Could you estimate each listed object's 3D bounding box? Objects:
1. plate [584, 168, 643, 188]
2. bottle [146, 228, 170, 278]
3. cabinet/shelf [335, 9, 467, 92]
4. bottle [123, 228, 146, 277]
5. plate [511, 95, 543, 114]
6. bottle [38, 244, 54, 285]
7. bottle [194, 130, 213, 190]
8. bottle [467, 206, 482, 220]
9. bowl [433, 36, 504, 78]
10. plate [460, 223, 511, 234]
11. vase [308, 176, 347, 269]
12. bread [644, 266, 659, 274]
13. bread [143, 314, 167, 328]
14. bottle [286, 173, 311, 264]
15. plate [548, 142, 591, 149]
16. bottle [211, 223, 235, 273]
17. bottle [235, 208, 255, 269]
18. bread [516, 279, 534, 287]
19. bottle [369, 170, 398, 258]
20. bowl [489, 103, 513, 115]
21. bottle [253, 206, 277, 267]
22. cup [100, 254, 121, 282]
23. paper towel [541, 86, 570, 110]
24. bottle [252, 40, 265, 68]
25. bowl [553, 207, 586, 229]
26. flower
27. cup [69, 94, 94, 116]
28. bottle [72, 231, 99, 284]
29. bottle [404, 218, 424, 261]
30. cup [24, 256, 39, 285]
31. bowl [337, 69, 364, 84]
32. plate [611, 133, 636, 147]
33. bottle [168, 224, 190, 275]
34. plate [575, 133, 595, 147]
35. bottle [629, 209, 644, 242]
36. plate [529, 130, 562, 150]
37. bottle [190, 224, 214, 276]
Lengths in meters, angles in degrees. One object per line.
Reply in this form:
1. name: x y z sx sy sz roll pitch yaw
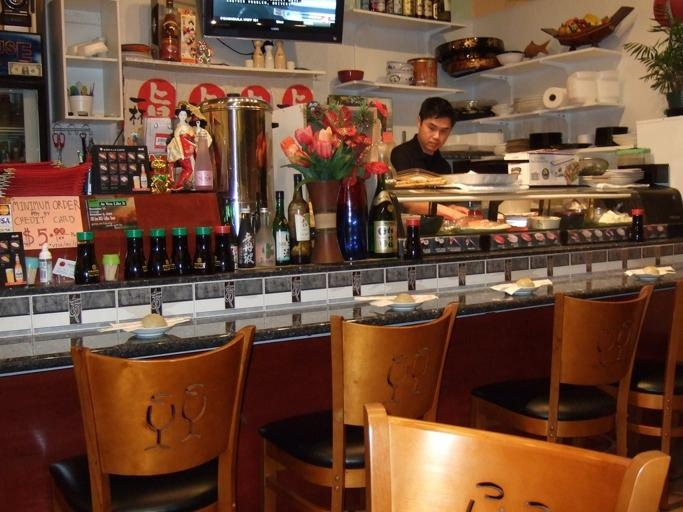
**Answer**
1. plate: 1.593 -0.452 3.665 0.237 0.093 0.674 4 11 45
2. bottle: -0.660 -0.017 2.307 0.075 0.168 0.126 -3 8 2
3. cabinet/shelf: 0.485 -1.853 5.700 0.860 0.522 0.283 -3 7 -29
4. bottle: -0.739 -0.009 2.245 0.074 0.172 0.085 -6 8 -20
5. plate: 1.616 -1.321 5.547 0.131 0.146 0.314 -8 9 -31
6. bottle: -1.019 0.026 2.173 0.051 0.133 0.096 -7 9 -24
7. bottle: -0.558 -0.383 2.524 0.080 0.237 0.064 -5 8 -14
8. bottle: 0.637 -0.209 3.012 0.026 0.068 0.125 3 10 37
9. bowl: 1.133 -1.802 5.689 0.408 0.167 0.417 -4 2 0
10. plate: 0.685 -0.133 2.984 0.305 0.056 0.052 -8 9 -30
11. vase: -0.065 -0.139 2.580 0.140 0.335 0.124 -3 8 0
12. bread: 1.449 0.064 2.960 0.041 0.024 0.043 -3 6 11
13. bread: -0.606 0.202 2.053 0.044 0.031 0.054 3 6 -4
14. bottle: -0.173 -0.137 2.582 0.108 0.331 0.088 -6 8 -17
15. plate: 1.770 -0.849 4.891 0.390 0.042 0.104 -7 8 -21
16. bottle: -0.445 -0.027 2.375 0.079 0.174 0.048 -5 8 -9
17. bottle: -0.380 -0.073 2.518 0.071 0.221 0.155 -4 8 -5
18. bread: 0.775 0.106 2.640 0.047 0.026 0.042 -1 3 -26
19. bottle: 0.174 -0.173 2.708 0.127 0.354 0.077 -3 8 4
20. bowl: 1.448 -1.314 5.706 0.126 0.065 0.123 0 1 0
21. bottle: -0.310 -0.077 2.520 0.082 0.233 0.128 -4 8 -7
22. cup: -0.807 0.038 2.210 0.080 0.113 0.080 3 7 0
23. paper towel: 1.732 -1.281 5.163 0.215 0.173 0.182 -19 0 -40
24. bottle: -0.668 -1.612 5.071 0.096 0.249 0.340 -4 8 -6
25. bowl: 1.182 -0.195 3.247 0.111 0.089 0.104 0 0 0
26. flower: -0.024 -0.512 2.734 0.432 0.446 0.379 0 13 3
27. cup: -1.782 -1.031 4.326 0.145 0.117 0.130 -3 10 -20
28. bottle: -0.893 0.002 2.194 0.081 0.177 0.131 -7 9 -23
29. bottle: 0.308 -0.076 2.715 0.075 0.175 0.084 -3 8 7
30. cup: -1.064 0.046 2.175 0.047 0.090 0.092 -7 9 -24
31. bowl: 0.076 -1.530 5.385 0.160 0.074 0.163 -1 9 0
32. plate: 2.087 -0.848 4.649 0.083 0.096 0.230 -4 8 -4
33. bottle: -0.596 -0.020 2.326 0.071 0.167 0.109 -6 8 -15
34. plate: 1.915 -0.904 4.973 0.141 0.112 0.145 -1 9 -3
35. bottle: 1.564 -0.165 3.357 0.059 0.170 0.073 1 9 30
36. plate: 1.605 -0.900 4.935 0.208 0.127 0.416 -5 8 -8
37. bottle: -0.526 -0.026 2.375 0.079 0.172 0.122 -5 8 -12
